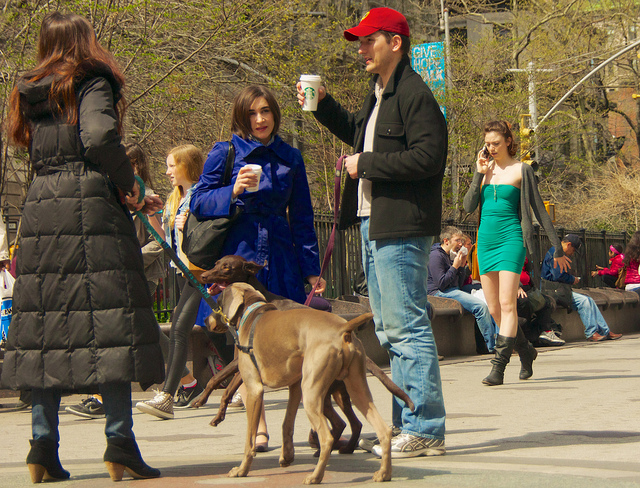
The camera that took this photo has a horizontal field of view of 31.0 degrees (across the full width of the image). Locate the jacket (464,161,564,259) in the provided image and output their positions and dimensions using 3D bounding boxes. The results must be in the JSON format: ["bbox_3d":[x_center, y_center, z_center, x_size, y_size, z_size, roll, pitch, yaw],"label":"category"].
[{"bbox_3d":[2.150,-0.347,12.646,1.119,0.789,0.376,-4,-2,37],"label":"jacket"}]

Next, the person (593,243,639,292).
[{"bbox_3d":[5.756,0.482,22.088,0.933,1.248,0.641,0,-12,19],"label":"person"}]

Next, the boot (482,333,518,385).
[{"bbox_3d":[2.014,1.275,12.728,0.438,0.413,0.316,-5,-2,43],"label":"boot"}]

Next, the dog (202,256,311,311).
[{"bbox_3d":[-0.558,0.359,9.618,0.521,0.440,1.149,-4,-2,37],"label":"dog"}]

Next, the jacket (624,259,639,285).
[{"bbox_3d":[5.776,0.526,21.311,0.231,0.377,0.617,-4,-2,12],"label":"jacket"}]

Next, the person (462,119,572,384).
[{"bbox_3d":[2.089,0.088,12.622,0.654,2.106,1.046,-2,-2,-34],"label":"person"}]

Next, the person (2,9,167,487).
[{"bbox_3d":[-1.863,0.020,8.923,1.186,3.652,0.507,-3,-2,-7],"label":"person"}]

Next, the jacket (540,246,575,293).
[{"bbox_3d":[3.772,0.457,18.385,0.579,0.736,0.596,6,-2,12],"label":"jacket"}]

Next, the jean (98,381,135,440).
[{"bbox_3d":[-1.565,1.273,8.833,0.247,0.449,0.278,-3,-2,-10],"label":"jean"}]
